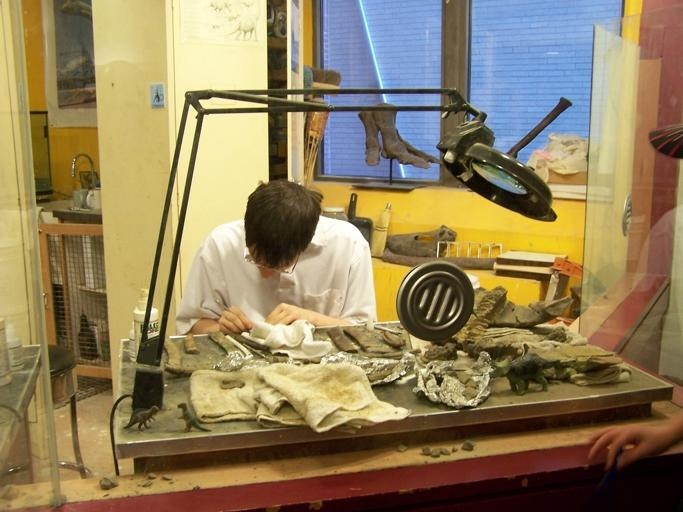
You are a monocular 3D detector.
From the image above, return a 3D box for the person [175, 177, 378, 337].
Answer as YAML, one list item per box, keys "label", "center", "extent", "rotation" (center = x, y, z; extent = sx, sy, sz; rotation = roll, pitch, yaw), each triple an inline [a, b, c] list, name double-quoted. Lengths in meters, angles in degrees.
- label: "person"
  center: [-0.249, 0.009, 2.272]
  extent: [0.772, 0.609, 0.621]
  rotation: [2, 13, 2]

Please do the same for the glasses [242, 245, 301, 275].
- label: "glasses"
  center: [-0.253, 0.021, 2.150]
  extent: [0.177, 0.130, 0.205]
  rotation: [-2, 13, -12]

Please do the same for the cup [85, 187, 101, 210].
- label: "cup"
  center: [-1.684, -0.390, 4.114]
  extent: [0.170, 0.131, 0.090]
  rotation: [13, 18, 41]
